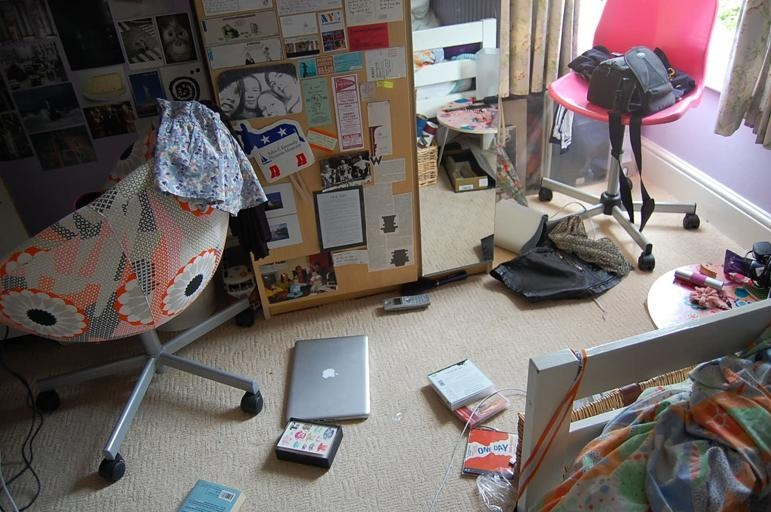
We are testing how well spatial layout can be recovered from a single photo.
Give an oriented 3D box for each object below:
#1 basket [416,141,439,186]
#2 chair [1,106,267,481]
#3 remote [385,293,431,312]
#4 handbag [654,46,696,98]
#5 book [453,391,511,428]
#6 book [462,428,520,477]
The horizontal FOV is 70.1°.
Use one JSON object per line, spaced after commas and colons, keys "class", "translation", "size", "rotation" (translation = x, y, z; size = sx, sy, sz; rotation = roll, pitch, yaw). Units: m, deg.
{"class": "basket", "translation": [0.186, -0.432, 2.510], "size": [0.157, 0.201, 0.134], "rotation": [0, 33, 3]}
{"class": "chair", "translation": [-1.005, 0.145, 2.165], "size": [0.968, 1.047, 0.970], "rotation": [9, 43, -3]}
{"class": "remote", "translation": [0.105, 0.232, 2.656], "size": [0.204, 0.045, 0.089], "rotation": [-3, 46, -1]}
{"class": "handbag", "translation": [1.387, -0.879, 2.640], "size": [0.255, 0.075, 0.195], "rotation": [23, 56, 23]}
{"class": "book", "translation": [0.388, 0.616, 2.189], "size": [0.146, 0.029, 0.141], "rotation": [-15, 24, -7]}
{"class": "book", "translation": [0.388, 0.739, 2.066], "size": [0.187, 0.063, 0.204], "rotation": [6, 34, 16]}
